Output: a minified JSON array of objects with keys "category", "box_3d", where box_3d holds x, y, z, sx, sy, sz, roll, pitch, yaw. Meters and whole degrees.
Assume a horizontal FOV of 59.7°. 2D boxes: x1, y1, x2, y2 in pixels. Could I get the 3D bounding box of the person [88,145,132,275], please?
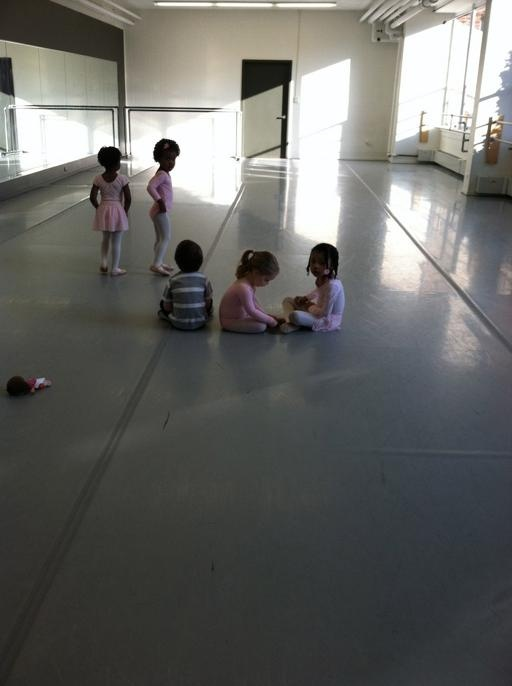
[{"category":"person","box_3d":[-1.254,-1.142,3.900,0.309,1.049,0.682,-5,22,-18]}]
